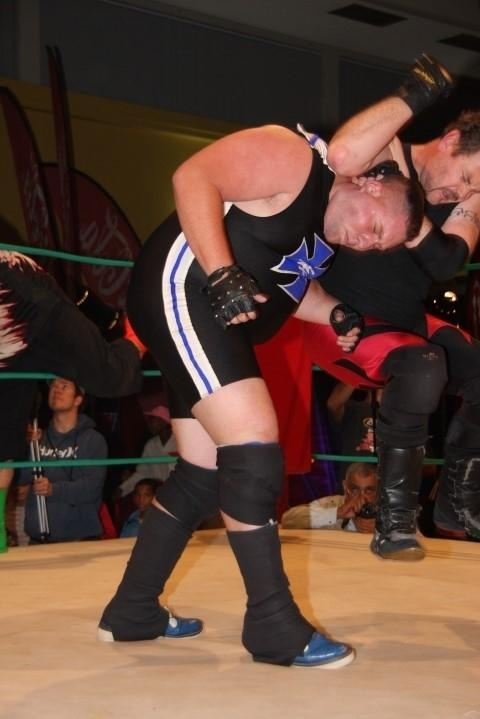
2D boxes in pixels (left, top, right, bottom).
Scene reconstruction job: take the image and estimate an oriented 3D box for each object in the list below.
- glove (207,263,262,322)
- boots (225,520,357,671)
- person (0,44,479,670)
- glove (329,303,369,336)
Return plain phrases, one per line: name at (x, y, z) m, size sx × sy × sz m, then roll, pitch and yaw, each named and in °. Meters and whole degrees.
glove at (-0.012, -0.107, 0.969) m, size 0.087 × 0.093 × 0.044 m, roll -21°, pitch 11°, yaw 3°
boots at (0.087, 0.452, 1.150) m, size 0.271 × 0.282 × 0.131 m, roll 6°, pitch -10°, yaw -33°
person at (0.097, 0.029, 1.280) m, size 0.652 × 1.189 × 0.693 m, roll 5°, pitch -10°, yaw -24°
glove at (0.298, -0.112, 1.670) m, size 0.042 × 0.073 × 0.103 m, roll -10°, pitch 52°, yaw -49°
